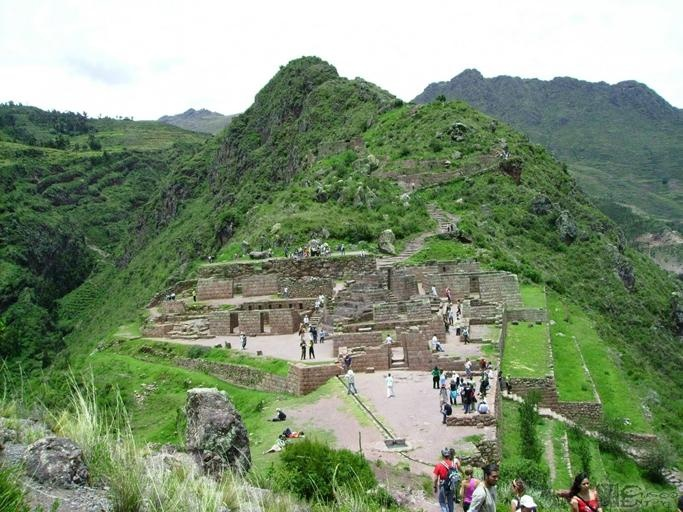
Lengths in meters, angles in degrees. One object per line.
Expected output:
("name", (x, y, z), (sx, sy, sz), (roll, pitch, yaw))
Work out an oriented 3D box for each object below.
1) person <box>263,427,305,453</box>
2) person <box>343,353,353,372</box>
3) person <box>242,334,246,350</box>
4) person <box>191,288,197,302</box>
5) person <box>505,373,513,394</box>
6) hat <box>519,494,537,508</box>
("person", (-1.942, 6.263, 19.957), (1.129, 0.287, 1.286), (-9, 5, 24))
("person", (0.269, 4.759, 26.303), (0.240, 0.749, 0.308), (-4, -10, 24))
("person", (-5.400, 4.786, 32.751), (0.297, 0.798, 0.991), (4, -7, -10))
("person", (-11.464, 3.050, 45.544), (0.378, 1.246, 0.445), (-7, 14, -11))
("person", (8.060, 6.117, 28.144), (0.291, 0.862, 1.113), (1, -7, 16))
("hat", (3.777, 4.978, 11.984), (0.325, 0.223, 0.431), (3, -16, -7))
